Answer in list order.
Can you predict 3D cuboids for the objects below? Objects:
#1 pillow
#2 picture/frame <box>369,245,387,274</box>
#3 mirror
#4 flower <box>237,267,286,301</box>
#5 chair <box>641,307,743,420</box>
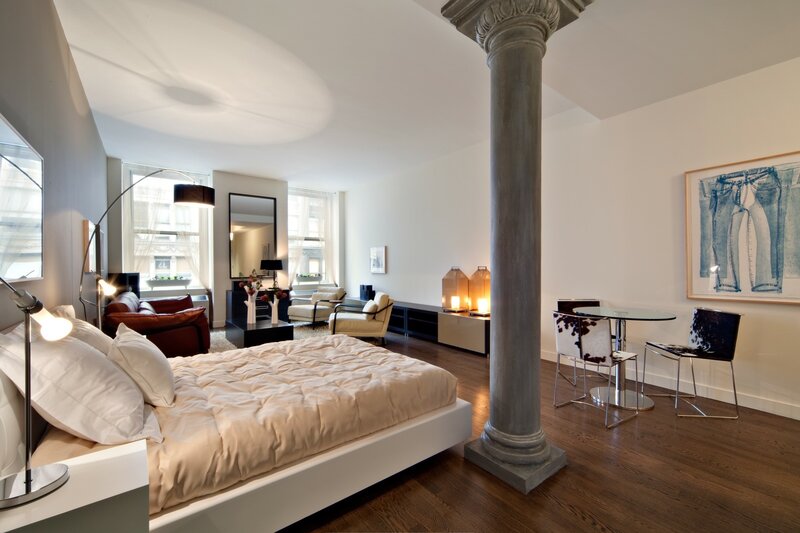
[{"bbox_3d":[-2.501,0.946,4.036,0.825,0.626,1.398,1,0,-24],"label":"pillow"},{"bbox_3d":[-0.462,-0.158,10.499,0.083,0.676,0.572,-1,1,-33],"label":"picture/frame"},{"bbox_3d":[-2.984,-0.622,10.172,1.033,1.683,0.177,-2,2,-43],"label":"mirror"},{"bbox_3d":[-2.545,0.308,8.981,0.586,0.421,0.319,3,5,40],"label":"flower"},{"bbox_3d":[3.559,1.087,6.203,1.021,1.718,1.124,1,-2,-3],"label":"chair"}]
